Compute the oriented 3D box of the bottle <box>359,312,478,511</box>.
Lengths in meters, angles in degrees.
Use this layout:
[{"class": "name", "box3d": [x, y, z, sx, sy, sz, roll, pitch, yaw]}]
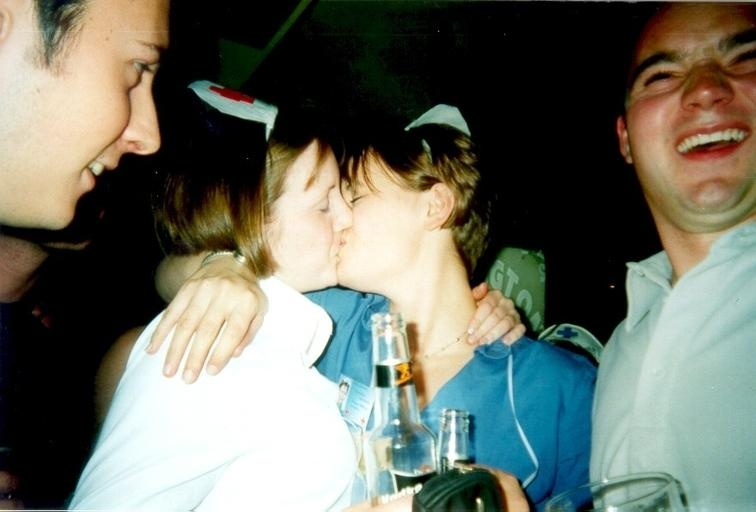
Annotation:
[{"class": "bottle", "box3d": [0.066, 0.368, 1.673, 0.178, 0.449, 0.144, 3, 0, 2]}]
